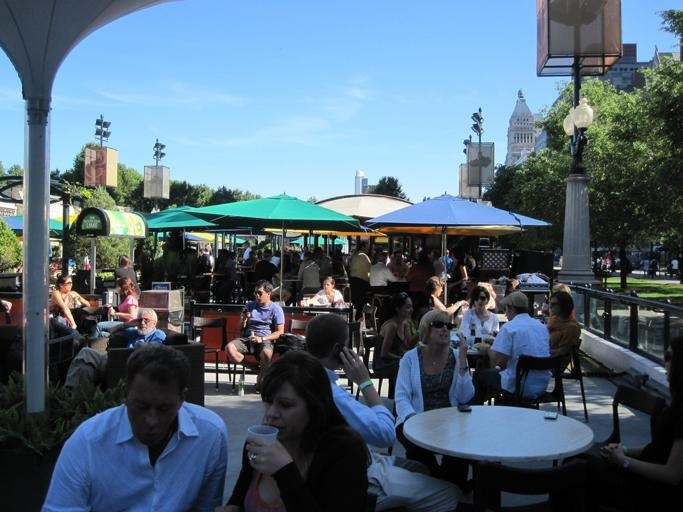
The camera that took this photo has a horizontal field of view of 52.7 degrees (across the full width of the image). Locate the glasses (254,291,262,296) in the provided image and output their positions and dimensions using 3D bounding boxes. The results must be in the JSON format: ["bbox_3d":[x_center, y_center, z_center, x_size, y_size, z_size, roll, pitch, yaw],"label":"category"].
[{"bbox_3d":[-1.263,0.595,10.582,0.061,0.086,0.057,8,6,-34],"label":"glasses"}]

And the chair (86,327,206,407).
[{"bbox_3d":[-2.131,1.273,7.874,1.217,1.282,1.109,8,-8,-34],"label":"chair"}]

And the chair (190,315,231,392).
[{"bbox_3d":[-2.138,1.475,10.943,0.632,0.945,0.691,-8,12,-25],"label":"chair"}]

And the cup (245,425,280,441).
[{"bbox_3d":[-0.474,1.078,4.225,0.106,0.080,0.113,0,-1,0],"label":"cup"}]

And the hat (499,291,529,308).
[{"bbox_3d":[2.113,0.535,8.353,0.240,0.152,0.183,2,-1,42],"label":"hat"}]

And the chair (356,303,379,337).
[{"bbox_3d":[0.563,1.311,14.127,0.457,0.834,0.529,0,0,44],"label":"chair"}]
